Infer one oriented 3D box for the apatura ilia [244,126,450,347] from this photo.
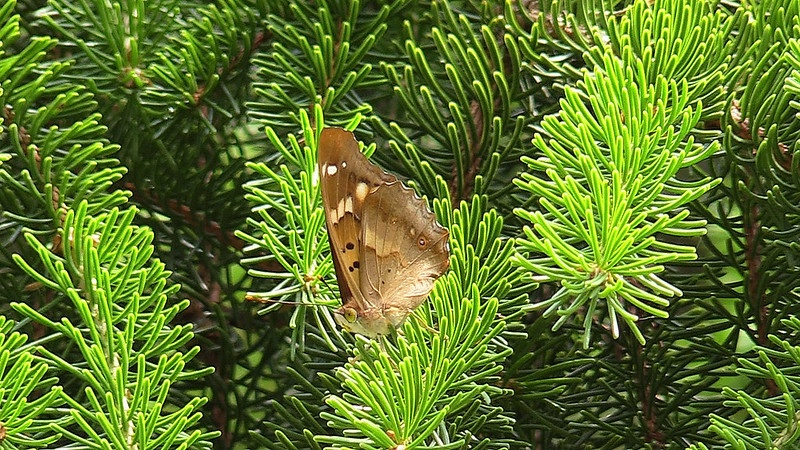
[{"bbox_3d":[-0.120,0.043,2.358,0.431,0.467,0.427,17,46,-19],"label":"apatura ilia"}]
